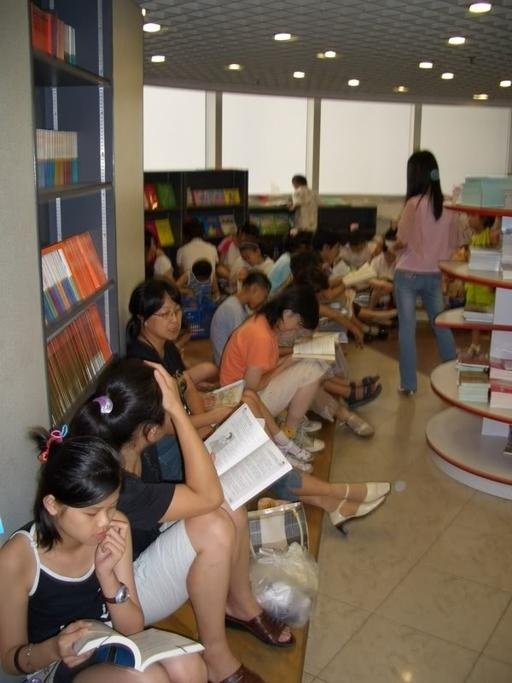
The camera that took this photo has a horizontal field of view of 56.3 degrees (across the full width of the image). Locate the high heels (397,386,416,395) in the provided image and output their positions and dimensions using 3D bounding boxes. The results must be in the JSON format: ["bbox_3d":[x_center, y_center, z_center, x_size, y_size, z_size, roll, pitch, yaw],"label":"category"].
[{"bbox_3d":[1.371,0.437,4.376,0.061,0.060,0.138,2,18,-4],"label":"high heels"}]

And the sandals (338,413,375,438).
[{"bbox_3d":[0.741,0.634,3.653,0.301,0.088,0.118,30,40,34],"label":"sandals"}]

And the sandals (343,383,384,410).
[{"bbox_3d":[0.888,0.457,3.934,0.339,0.149,0.153,-28,48,24],"label":"sandals"}]

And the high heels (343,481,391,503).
[{"bbox_3d":[0.543,0.756,2.419,0.253,0.099,0.070,-5,1,1],"label":"high heels"}]

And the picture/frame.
[{"bbox_3d":[-1.048,-1.860,7.246,1.600,1.462,0.521,-5,27,-10],"label":"picture/frame"}]
